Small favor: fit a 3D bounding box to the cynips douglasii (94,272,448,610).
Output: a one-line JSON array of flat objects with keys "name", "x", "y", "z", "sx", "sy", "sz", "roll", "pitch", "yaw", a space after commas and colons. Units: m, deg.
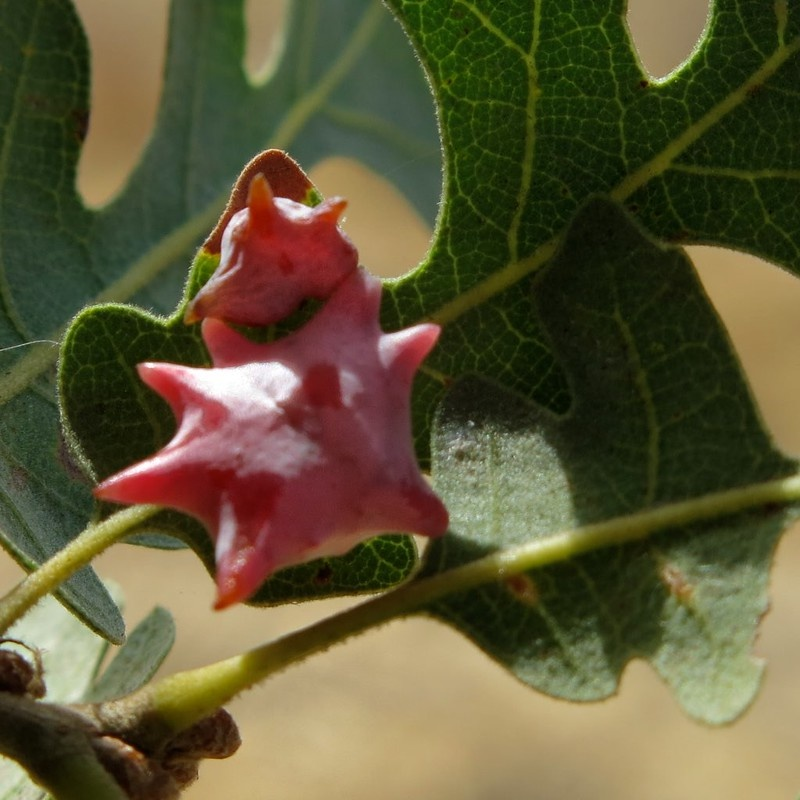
[{"name": "cynips douglasii", "x": -0.073, "y": 0.024, "z": 0.854, "sx": 0.229, "sy": 0.247, "sz": 0.095, "roll": 15, "pitch": -40, "yaw": 4}]
